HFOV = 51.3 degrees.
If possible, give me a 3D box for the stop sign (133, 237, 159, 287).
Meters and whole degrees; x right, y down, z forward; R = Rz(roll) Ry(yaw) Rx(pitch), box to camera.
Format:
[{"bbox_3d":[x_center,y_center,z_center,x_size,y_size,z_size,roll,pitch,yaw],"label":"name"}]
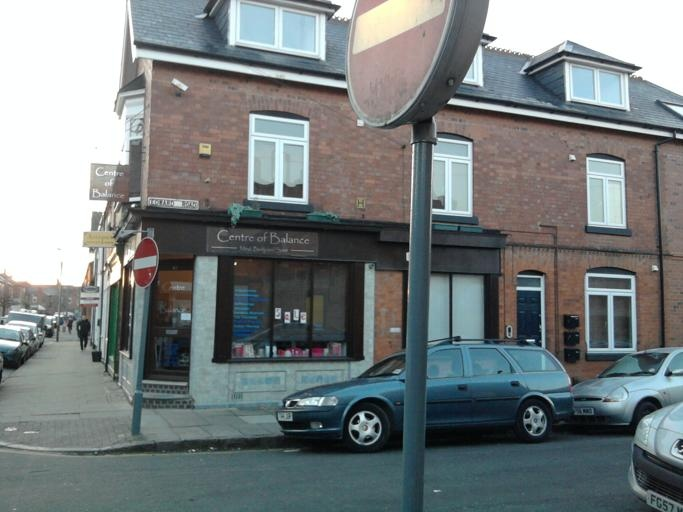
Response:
[{"bbox_3d":[-3.995,0.123,14.543,0.056,1.239,1.017,0,-5,-40],"label":"stop sign"}]
